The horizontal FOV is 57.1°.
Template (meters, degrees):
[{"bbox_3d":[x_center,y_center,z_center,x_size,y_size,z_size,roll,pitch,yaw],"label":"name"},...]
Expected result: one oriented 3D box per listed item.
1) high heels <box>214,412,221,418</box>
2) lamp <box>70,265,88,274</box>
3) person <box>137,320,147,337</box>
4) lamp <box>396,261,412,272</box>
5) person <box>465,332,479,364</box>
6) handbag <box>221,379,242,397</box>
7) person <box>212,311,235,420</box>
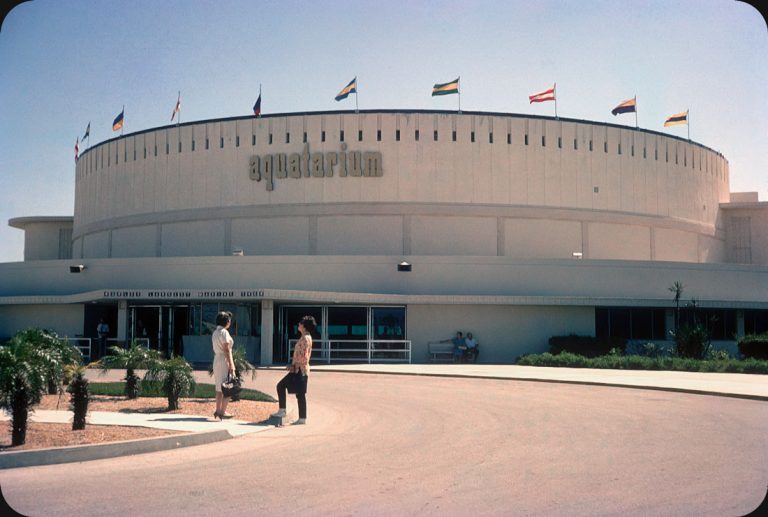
[{"bbox_3d":[-4.075,3.794,17.329,0.230,0.146,0.105,-7,-11,31],"label":"high heels"},{"bbox_3d":[-18.352,0.549,42.606,0.593,0.371,0.633,-1,-8,-2],"label":"lamp"},{"bbox_3d":[-13.463,3.906,39.535,0.614,0.802,0.606,1,-1,-42],"label":"person"},{"bbox_3d":[1.219,0.429,40.310,0.549,0.472,0.566,-2,-5,24],"label":"lamp"},{"bbox_3d":[4.845,4.781,39.072,0.721,1.714,1.625,-2,-9,7],"label":"person"},{"bbox_3d":[-3.734,3.099,17.262,0.439,0.503,0.200,-2,5,8],"label":"handbag"},{"bbox_3d":[-3.986,2.599,17.683,0.527,2.654,1.197,1,-9,-13],"label":"person"}]
